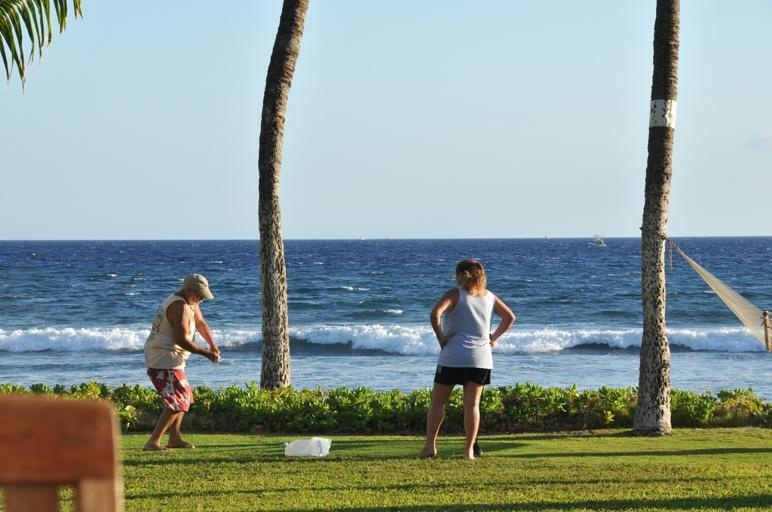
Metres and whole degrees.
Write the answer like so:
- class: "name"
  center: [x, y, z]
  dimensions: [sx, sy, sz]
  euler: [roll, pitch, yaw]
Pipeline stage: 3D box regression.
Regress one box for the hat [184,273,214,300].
- class: "hat"
  center: [-6.187, 0.958, 50.916]
  dimensions: [0.991, 0.567, 0.657]
  euler: [25, 19, 18]
